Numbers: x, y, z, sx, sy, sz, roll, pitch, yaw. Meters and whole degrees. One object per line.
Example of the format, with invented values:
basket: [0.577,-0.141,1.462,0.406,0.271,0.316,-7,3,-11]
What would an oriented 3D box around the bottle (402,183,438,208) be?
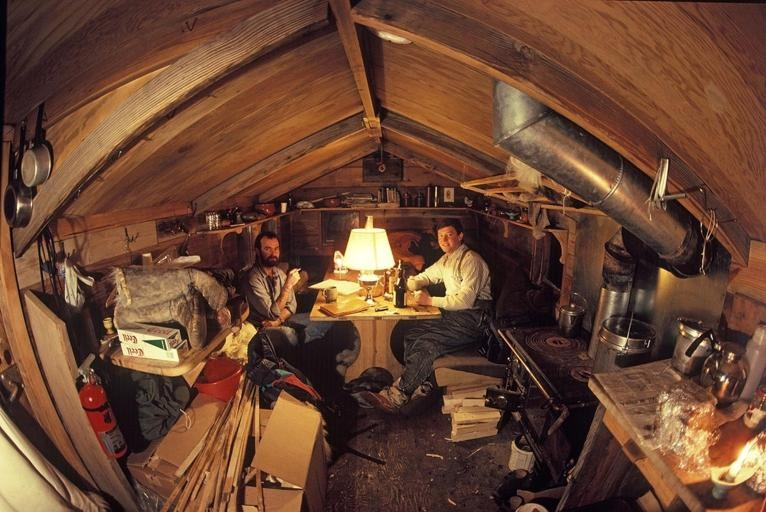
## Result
bottle: [0.571,-0.907,7.849,0.617,0.348,0.236,-3,4,2]

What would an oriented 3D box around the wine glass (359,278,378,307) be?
wine glass: [-0.143,0.353,5.035,0.230,0.265,0.240,0,5,-22]

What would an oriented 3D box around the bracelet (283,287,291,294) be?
bracelet: [-0.957,0.346,5.196,0.056,0.042,0.057,3,-5,-5]

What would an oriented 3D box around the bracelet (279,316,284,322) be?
bracelet: [-0.998,0.629,5.091,0.039,0.016,0.044,52,5,40]

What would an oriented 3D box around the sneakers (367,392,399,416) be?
sneakers: [0.032,1.344,4.681,0.264,0.173,0.151,0,5,37]

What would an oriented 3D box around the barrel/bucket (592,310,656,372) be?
barrel/bucket: [1.586,0.607,3.385,0.319,0.361,0.289,-3,4,-5]

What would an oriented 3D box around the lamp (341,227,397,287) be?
lamp: [-0.128,0.021,4.866,0.529,0.717,0.531,0,-3,-2]

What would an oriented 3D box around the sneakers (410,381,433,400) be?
sneakers: [0.363,1.254,4.769,0.172,0.127,0.149,24,15,-34]

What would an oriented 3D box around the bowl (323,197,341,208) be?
bowl: [-0.758,-0.795,7.709,0.176,0.091,0.160,-3,11,1]

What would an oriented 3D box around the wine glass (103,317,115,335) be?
wine glass: [-1.792,0.464,3.380,0.063,0.117,0.052,-5,5,-29]

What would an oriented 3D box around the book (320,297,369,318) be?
book: [-0.368,0.479,4.786,0.455,0.108,0.448,-4,4,-21]

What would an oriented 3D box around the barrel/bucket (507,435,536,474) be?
barrel/bucket: [1.053,1.533,3.908,0.165,0.279,0.243,-2,4,5]

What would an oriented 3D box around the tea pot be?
tea pot: [1.786,0.611,2.708,0.236,0.385,0.372,12,-8,-32]
